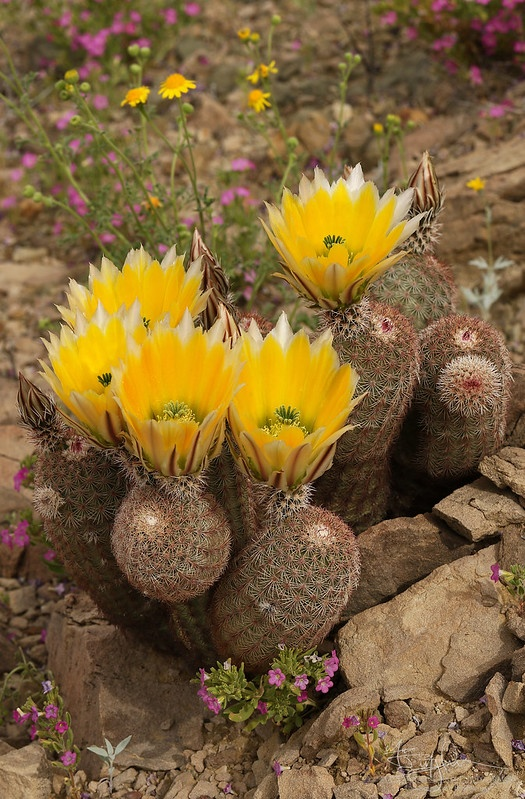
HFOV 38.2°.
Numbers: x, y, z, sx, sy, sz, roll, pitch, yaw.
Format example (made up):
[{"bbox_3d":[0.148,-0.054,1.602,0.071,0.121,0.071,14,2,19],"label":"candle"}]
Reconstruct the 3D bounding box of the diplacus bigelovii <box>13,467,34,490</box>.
[{"bbox_3d":[-0.892,0.301,2.880,0.093,0.032,0.092,-1,77,35],"label":"diplacus bigelovii"}]

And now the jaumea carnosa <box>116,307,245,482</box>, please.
[{"bbox_3d":[-0.193,-0.015,1.699,0.341,0.367,0.300,-9,32,-9],"label":"jaumea carnosa"}]

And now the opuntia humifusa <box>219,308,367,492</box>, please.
[{"bbox_3d":[0.073,0.029,1.817,0.351,0.411,0.379,-2,27,-3],"label":"opuntia humifusa"}]

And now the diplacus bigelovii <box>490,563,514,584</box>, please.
[{"bbox_3d":[0.638,0.464,2.024,0.043,0.067,0.034,14,78,34],"label":"diplacus bigelovii"}]

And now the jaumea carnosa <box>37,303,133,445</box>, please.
[{"bbox_3d":[-0.406,-0.045,1.795,0.279,0.326,0.254,-6,27,-8],"label":"jaumea carnosa"}]

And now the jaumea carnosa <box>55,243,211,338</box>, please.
[{"bbox_3d":[-0.307,-0.276,1.891,0.304,0.122,0.279,-2,0,-10],"label":"jaumea carnosa"}]
